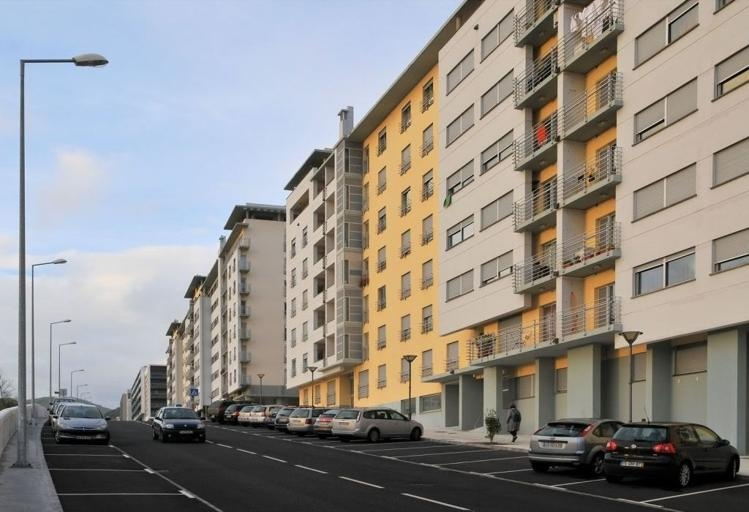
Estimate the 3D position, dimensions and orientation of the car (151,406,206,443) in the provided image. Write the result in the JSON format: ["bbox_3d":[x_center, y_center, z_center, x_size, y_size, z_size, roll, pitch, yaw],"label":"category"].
[{"bbox_3d":[-9.201,7.856,54.913,2.172,1.589,3.619,2,-5,-24],"label":"car"}]

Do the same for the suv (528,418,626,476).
[{"bbox_3d":[8.153,7.134,43.664,5.064,1.994,2.646,7,-8,-43],"label":"suv"}]

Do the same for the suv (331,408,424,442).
[{"bbox_3d":[0.231,8.093,56.031,2.149,1.551,4.842,-6,-8,45],"label":"suv"}]
